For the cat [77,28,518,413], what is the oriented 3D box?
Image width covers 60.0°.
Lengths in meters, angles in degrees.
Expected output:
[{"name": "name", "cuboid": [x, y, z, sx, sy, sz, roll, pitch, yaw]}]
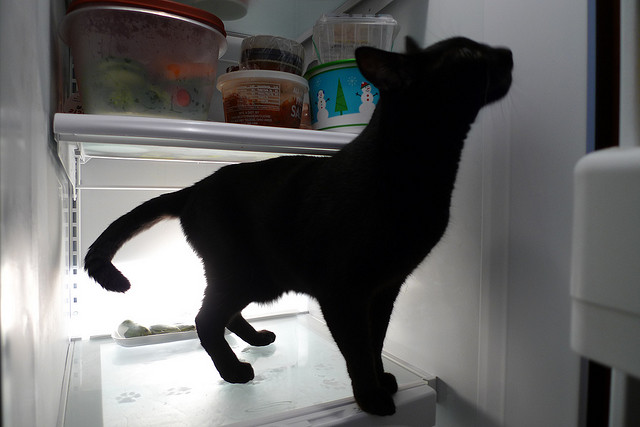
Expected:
[{"name": "cat", "cuboid": [-0.043, 0.025, 1.029, 0.721, 0.656, 0.207, 3, 14, 17]}]

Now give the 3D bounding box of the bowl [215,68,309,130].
[{"name": "bowl", "cuboid": [-0.127, -0.227, 1.219, 0.215, 0.126, 0.206, -1, -2, 0]}]

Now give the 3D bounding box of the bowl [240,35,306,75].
[{"name": "bowl", "cuboid": [-0.102, -0.320, 1.215, 0.105, 0.064, 0.091, 6, -4, -12]}]
